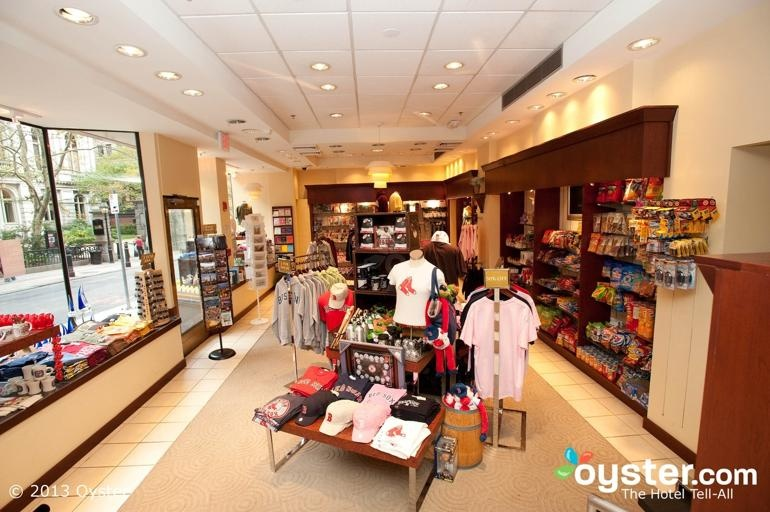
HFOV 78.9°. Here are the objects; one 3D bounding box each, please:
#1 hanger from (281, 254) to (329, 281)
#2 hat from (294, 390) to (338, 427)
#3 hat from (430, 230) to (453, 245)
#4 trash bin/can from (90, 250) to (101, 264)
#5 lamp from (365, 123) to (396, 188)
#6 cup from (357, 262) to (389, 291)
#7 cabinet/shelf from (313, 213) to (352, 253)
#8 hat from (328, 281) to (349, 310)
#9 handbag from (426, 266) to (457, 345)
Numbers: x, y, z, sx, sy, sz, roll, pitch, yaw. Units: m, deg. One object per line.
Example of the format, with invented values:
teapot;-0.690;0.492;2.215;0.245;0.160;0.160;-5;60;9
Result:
hanger;-1.366;0.217;7.454;0.440;0.192;0.583;9;12;38
hat;-0.785;1.707;5.242;0.251;0.113;0.403;1;27;44
hat;1.013;-0.321;8.570;0.313;0.196;0.372;0;-2;6
trash bin/can;-4.519;0.013;7.337;0.159;0.200;0.222;14;13;43
lamp;-0.178;-2.484;11.970;0.739;1.501;0.777;25;44;33
cup;-0.163;0.285;6.804;0.441;0.309;0.434;0;5;0
cabinet/shelf;-1.460;-0.695;13.887;1.326;1.105;0.462;-2;1;-23
hat;-0.661;0.570;6.566;0.268;0.345;0.263;-2;7;4
handbag;0.668;0.635;5.723;0.354;0.941;0.489;-2;7;5
